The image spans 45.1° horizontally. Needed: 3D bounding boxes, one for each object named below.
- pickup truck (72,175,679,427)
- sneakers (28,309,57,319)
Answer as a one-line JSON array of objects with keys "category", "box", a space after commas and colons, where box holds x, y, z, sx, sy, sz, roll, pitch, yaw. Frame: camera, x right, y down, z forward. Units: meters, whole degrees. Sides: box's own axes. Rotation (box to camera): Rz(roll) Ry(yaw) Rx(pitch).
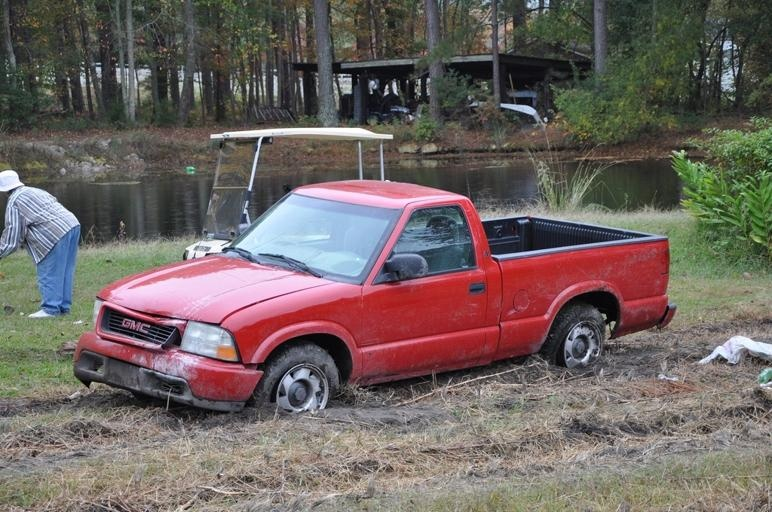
[{"category": "pickup truck", "box": [0.096, 0.557, 11.693, 6.467, 2.133, 3.112, -3, 4, -33]}, {"category": "sneakers", "box": [-5.130, 0.882, 13.898, 0.380, 0.151, 0.159, 3, 1, 1]}]
